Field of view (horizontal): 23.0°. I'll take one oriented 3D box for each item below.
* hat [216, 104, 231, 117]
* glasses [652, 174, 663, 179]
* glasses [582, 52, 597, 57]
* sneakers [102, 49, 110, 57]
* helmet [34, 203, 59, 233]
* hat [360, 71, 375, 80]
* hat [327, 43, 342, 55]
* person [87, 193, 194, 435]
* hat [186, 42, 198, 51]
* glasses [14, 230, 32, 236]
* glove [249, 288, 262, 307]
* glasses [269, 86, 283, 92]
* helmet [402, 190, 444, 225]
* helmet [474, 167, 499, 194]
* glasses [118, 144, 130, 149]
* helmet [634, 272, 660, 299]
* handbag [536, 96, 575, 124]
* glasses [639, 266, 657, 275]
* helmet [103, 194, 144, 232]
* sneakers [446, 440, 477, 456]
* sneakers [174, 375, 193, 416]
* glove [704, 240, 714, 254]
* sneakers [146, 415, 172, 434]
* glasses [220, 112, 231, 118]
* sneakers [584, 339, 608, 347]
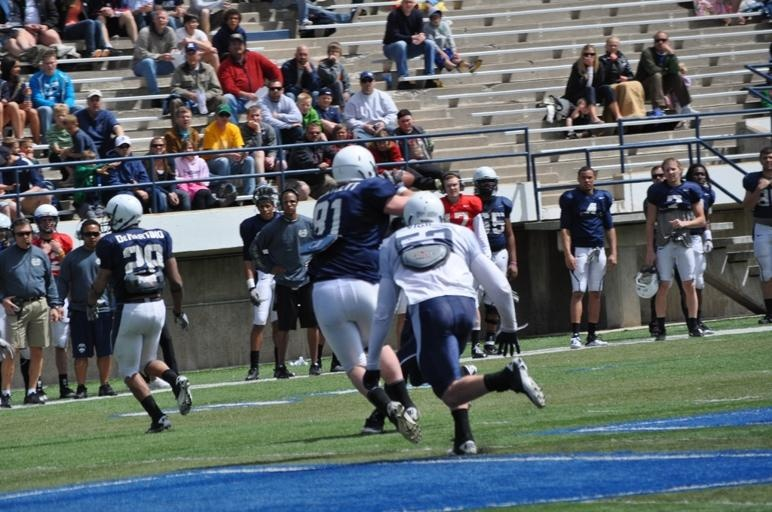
[{"bbox_3d":[-2.790,-2.485,32.700,0.350,0.159,0.487,3,0,-11],"label":"hat"},{"bbox_3d":[4.550,-1.300,31.582,0.175,0.087,0.149,-4,0,-4],"label":"glasses"},{"bbox_3d":[3.805,-3.715,35.147,0.296,0.083,0.166,-4,0,-20],"label":"glasses"},{"bbox_3d":[-5.236,-3.778,35.551,0.058,0.144,0.197,-5,0,27],"label":"sneakers"},{"bbox_3d":[-5.381,-0.585,30.111,0.362,0.432,0.467,-5,0,-10],"label":"helmet"},{"bbox_3d":[-0.324,-3.164,33.747,0.210,0.168,0.441,-4,0,3],"label":"hat"},{"bbox_3d":[-0.918,-3.745,34.406,0.266,0.233,0.313,0,-6,-6],"label":"hat"},{"bbox_3d":[-3.440,0.813,26.546,1.204,3.338,0.941,-5,0,-12],"label":"person"},{"bbox_3d":[-3.463,-3.698,33.796,0.203,0.178,0.522,-5,0,-5],"label":"hat"},{"bbox_3d":[-5.608,-0.336,29.400,0.267,0.093,0.179,-4,0,-13],"label":"glasses"},{"bbox_3d":[-2.066,0.668,30.068,0.093,0.248,0.200,-22,3,-15],"label":"glove"},{"bbox_3d":[-1.911,-2.869,33.149,0.232,0.090,0.186,-4,0,-14],"label":"glasses"},{"bbox_3d":[0.508,-0.600,24.783,0.440,0.379,0.499,1,7,3],"label":"helmet"},{"bbox_3d":[1.608,-1.223,30.549,0.404,0.334,0.437,0,-4,-3],"label":"helmet"},{"bbox_3d":[-4.384,-1.829,31.871,0.093,0.089,0.214,-5,0,41],"label":"glasses"},{"bbox_3d":[4.294,0.484,31.057,0.356,0.387,0.439,-1,-7,10],"label":"helmet"},{"bbox_3d":[3.184,-2.736,35.789,0.332,0.527,0.805,-5,1,-40],"label":"handbag"},{"bbox_3d":[4.292,0.239,30.888,0.234,0.123,0.132,-4,0,4],"label":"glasses"},{"bbox_3d":[-3.656,-0.601,26.695,0.615,0.519,0.488,10,13,33],"label":"helmet"},{"bbox_3d":[1.015,2.476,24.467,0.448,0.158,0.144,0,0,19],"label":"sneakers"},{"bbox_3d":[-2.774,1.933,26.314,0.222,0.536,0.291,-8,0,-22],"label":"sneakers"},{"bbox_3d":[5.319,-0.145,31.285,0.131,0.203,0.318,-5,0,8],"label":"glove"},{"bbox_3d":[-3.104,2.346,26.414,0.423,0.190,0.167,-16,-34,25],"label":"sneakers"},{"bbox_3d":[-2.733,-2.406,32.630,0.135,0.103,0.237,-4,0,40],"label":"glasses"},{"bbox_3d":[3.435,1.415,30.770,0.388,0.134,0.122,-2,-3,8],"label":"sneakers"}]
